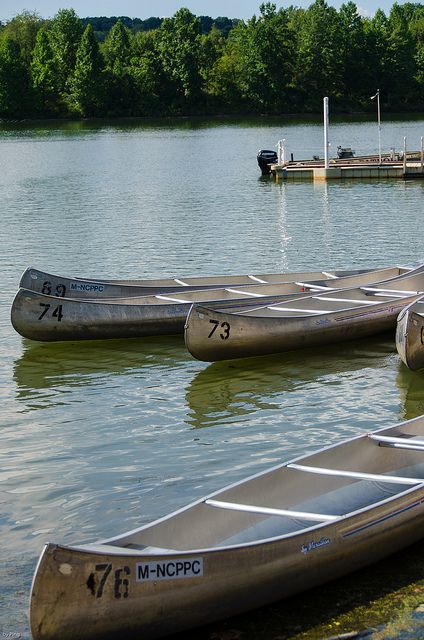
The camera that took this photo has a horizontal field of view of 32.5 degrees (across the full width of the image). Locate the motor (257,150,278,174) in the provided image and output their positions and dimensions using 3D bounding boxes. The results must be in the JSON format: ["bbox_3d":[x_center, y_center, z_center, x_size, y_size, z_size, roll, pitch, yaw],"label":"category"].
[{"bbox_3d":[3.368,-9.457,43.737,1.091,1.406,0.932,-2,14,3],"label":"motor"}]

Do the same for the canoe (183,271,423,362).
[{"bbox_3d":[1.576,-0.083,12.450,4.970,1.115,1.122,-9,15,-27],"label":"canoe"}]

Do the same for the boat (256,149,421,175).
[{"bbox_3d":[7.992,-9.829,44.763,10.186,1.372,4.990,-10,15,-31],"label":"boat"}]
